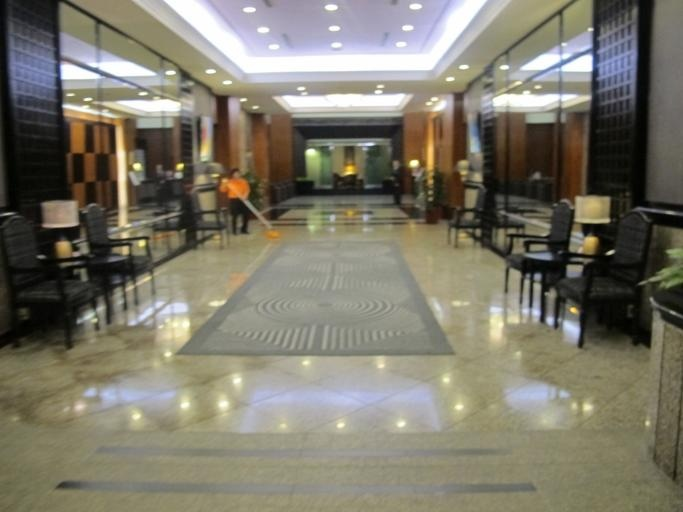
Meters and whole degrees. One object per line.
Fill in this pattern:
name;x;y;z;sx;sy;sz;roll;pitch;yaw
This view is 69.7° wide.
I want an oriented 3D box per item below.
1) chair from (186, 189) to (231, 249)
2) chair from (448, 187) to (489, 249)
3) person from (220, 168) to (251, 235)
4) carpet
chair;-2.901;-0.892;11.613;1.104;1.676;1.150;2;9;-28
chair;2.839;-0.874;11.090;1.042;1.486;1.046;2;10;2
person;-2.708;-1.444;13.406;0.778;1.815;0.669;11;11;36
carpet;-0.186;0.518;7.376;2.811;0.121;4.886;-1;11;2
